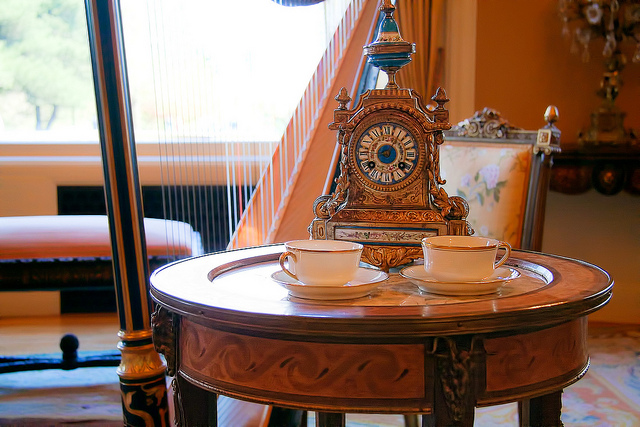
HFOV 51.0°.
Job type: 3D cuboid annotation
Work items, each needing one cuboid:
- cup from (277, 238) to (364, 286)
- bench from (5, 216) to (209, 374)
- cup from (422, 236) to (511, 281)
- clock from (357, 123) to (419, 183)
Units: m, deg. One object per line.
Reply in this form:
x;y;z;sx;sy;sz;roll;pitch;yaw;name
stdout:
0.005;0.144;2.042;0.172;0.085;0.156;-3;1;0;cup
-1.040;0.222;3.123;1.104;0.872;0.766;0;-3;-8;bench
0.438;0.136;2.075;0.182;0.091;0.160;0;-3;5;cup
0.236;-0.208;2.256;0.173;0.191;0.012;3;8;7;clock
